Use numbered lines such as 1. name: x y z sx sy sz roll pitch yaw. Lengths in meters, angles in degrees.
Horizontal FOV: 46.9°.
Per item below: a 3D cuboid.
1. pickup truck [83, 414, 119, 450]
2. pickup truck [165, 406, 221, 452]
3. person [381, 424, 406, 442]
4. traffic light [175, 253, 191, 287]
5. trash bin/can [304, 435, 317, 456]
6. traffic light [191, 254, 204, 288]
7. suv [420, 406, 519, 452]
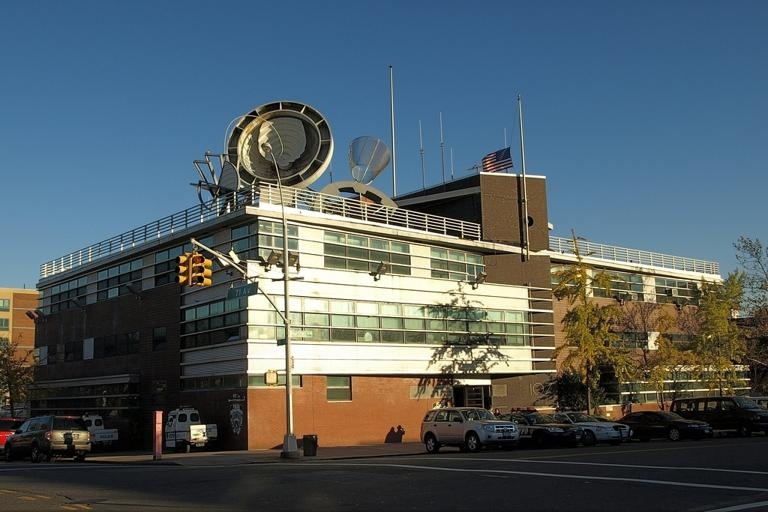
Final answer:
1. pickup truck: -19.272 11.523 58.902 1.685 1.418 3.055 4 -4 -44
2. pickup truck: -12.297 11.035 56.470 3.289 2.796 1.884 -11 -17 32
3. person: 0.765 12.237 60.937 0.417 1.168 1.770 -15 -19 41
4. traffic light: -9.858 0.583 43.464 0.648 1.556 0.574 1 -15 -13
5. trash bin/can: -4.151 10.689 49.987 0.701 1.182 0.883 1 -15 -12
6. traffic light: -9.199 0.648 43.567 0.734 1.555 0.435 -3 -15 2
7. suv: 4.747 9.791 50.226 5.072 2.588 1.679 -10 -16 28
